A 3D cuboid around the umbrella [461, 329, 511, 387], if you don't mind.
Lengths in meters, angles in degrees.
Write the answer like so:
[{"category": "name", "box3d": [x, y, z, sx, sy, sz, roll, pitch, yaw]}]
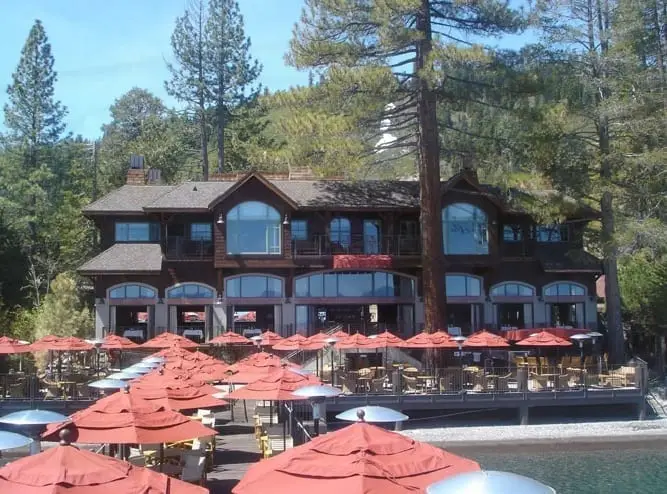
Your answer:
[{"category": "umbrella", "box3d": [10.657, 7.810, 89.978, 3.405, 4.444, 3.462, 1, 2, -40]}]
